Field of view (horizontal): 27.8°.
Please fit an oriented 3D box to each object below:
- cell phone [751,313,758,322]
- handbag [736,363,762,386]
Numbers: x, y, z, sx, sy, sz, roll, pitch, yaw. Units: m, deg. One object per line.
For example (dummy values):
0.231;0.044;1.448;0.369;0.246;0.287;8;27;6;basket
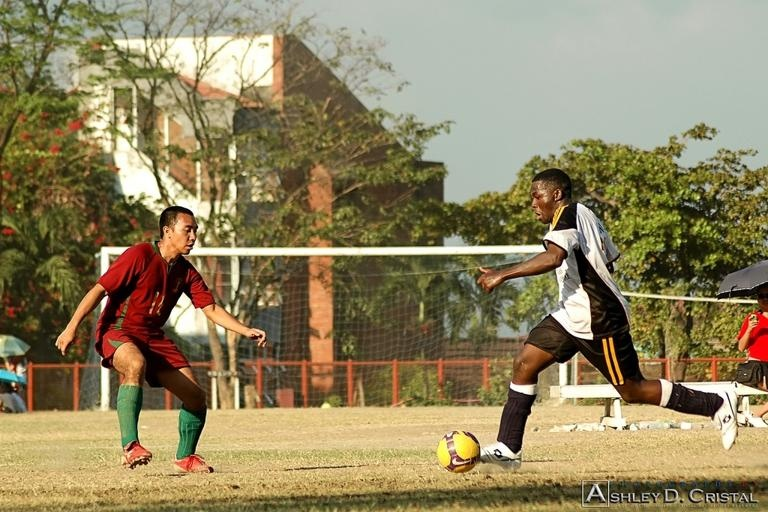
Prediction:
7.636;1.245;31.954;0.092;0.146;0.149;4;4;40;cell phone
7.590;2.364;32.008;0.608;0.455;0.339;0;-6;7;handbag
